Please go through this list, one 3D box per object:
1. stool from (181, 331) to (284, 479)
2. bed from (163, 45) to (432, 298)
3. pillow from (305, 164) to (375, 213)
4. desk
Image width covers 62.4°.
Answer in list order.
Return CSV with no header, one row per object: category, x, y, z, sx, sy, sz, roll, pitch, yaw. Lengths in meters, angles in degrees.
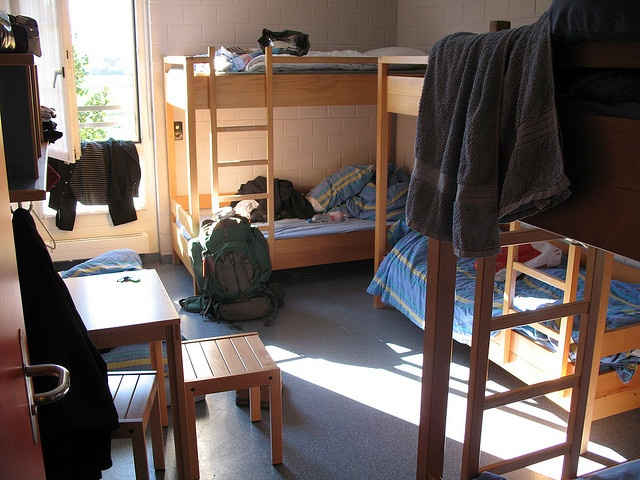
stool,-0.451,0.835,2.881,0.666,0.604,0.635,-6,19,-21
bed,-0.286,-0.551,4.487,2.258,1.941,1.261,-7,19,-18
pillow,0.177,-0.436,5.505,0.838,0.212,0.509,13,-4,-33
desk,-0.844,0.566,2.232,0.520,0.598,0.870,-7,26,-24
